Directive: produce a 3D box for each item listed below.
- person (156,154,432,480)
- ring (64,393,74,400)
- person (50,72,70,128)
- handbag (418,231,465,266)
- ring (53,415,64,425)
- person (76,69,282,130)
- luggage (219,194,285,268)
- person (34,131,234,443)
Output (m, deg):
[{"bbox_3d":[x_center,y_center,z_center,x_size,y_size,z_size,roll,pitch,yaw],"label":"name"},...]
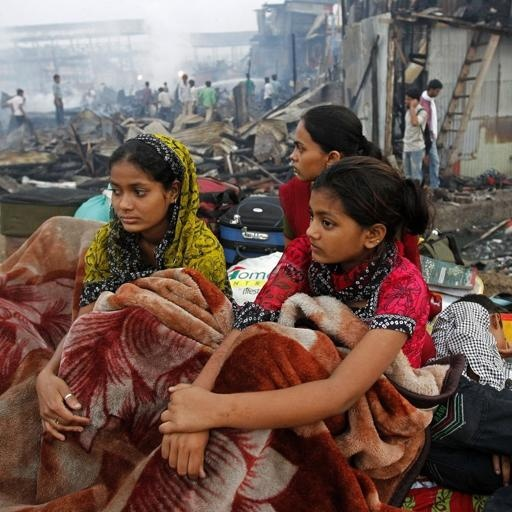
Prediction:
[{"bbox_3d":[0.182,0.065,1.521,1.081,0.853,0.661,-2,14,-23],"label":"person"},{"bbox_3d":[-0.566,0.421,1.408,0.018,0.017,0.005,37,-1,-14],"label":"ring"},{"bbox_3d":[-2.761,-2.153,6.528,0.143,0.691,0.172,0,23,6],"label":"person"},{"bbox_3d":[1.269,-0.051,3.345,0.494,0.224,0.086,3,-13,-34],"label":"handbag"},{"bbox_3d":[-0.589,0.487,1.393,0.030,0.025,0.010,3,4,17],"label":"ring"},{"bbox_3d":[-0.986,-2.230,6.759,2.862,0.691,0.409,-2,22,-2],"label":"person"},{"bbox_3d":[0.037,-0.219,3.485,0.530,0.267,0.599,2,22,8],"label":"luggage"},{"bbox_3d":[-0.453,0.121,1.888,0.837,1.099,0.718,-4,7,-5],"label":"person"}]
